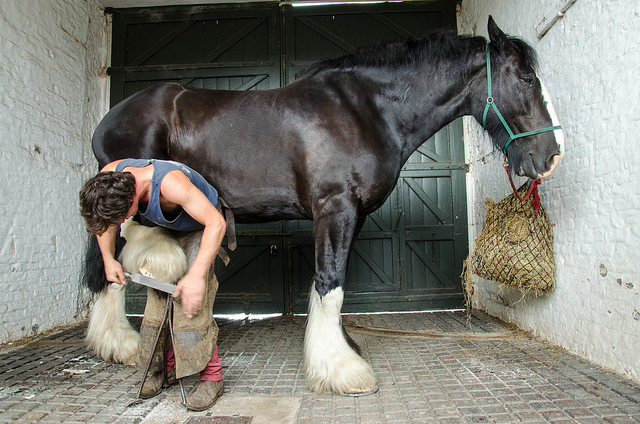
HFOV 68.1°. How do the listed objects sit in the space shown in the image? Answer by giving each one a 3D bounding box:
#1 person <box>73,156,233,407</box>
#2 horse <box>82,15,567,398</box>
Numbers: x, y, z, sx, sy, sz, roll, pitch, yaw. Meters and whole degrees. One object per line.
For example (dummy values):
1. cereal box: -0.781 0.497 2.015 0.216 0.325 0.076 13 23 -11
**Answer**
1. person: -1.181 0.556 3.630 1.007 1.881 1.222 8 11 37
2. horse: -0.098 0.037 4.308 4.076 3.409 1.224 1 -5 8
